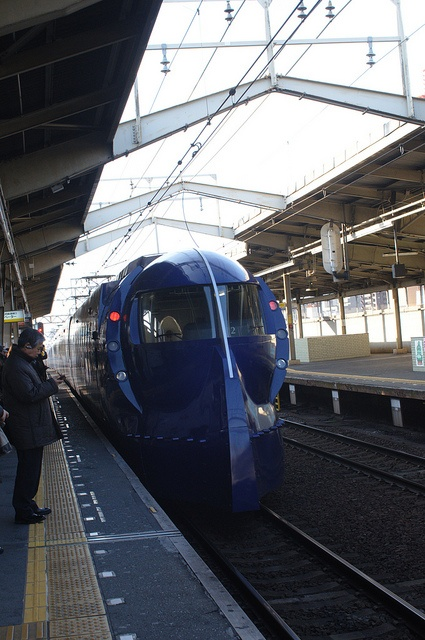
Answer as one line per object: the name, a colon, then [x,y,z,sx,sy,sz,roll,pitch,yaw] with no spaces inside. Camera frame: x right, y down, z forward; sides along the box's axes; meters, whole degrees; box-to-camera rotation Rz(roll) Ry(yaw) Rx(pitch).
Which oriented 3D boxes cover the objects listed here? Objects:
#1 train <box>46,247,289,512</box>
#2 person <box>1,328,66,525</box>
train: [-0.262,0.536,5.604,2.012,3.080,1.716,-8,-5,23]
person: [-1.537,0.895,3.786,0.445,1.638,0.370,-3,-5,-26]
